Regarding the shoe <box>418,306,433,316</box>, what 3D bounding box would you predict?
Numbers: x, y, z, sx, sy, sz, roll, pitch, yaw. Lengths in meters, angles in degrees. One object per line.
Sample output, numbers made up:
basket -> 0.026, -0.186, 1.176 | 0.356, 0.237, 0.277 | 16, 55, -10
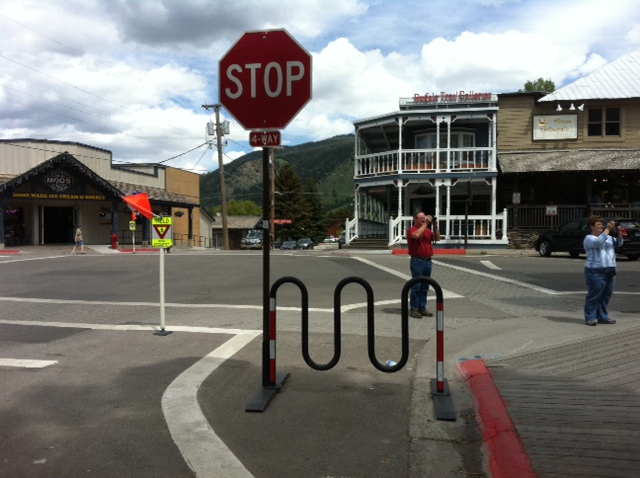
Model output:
shoe -> 1.970, 1.360, 12.167 | 0.340, 0.144, 0.123 | -1, 2, 14

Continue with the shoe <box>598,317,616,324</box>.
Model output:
shoe -> 4.955, 1.402, 11.051 | 0.295, 0.124, 0.100 | -2, 1, 7

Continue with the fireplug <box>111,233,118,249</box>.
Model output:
fireplug -> -11.138, 0.112, 34.595 | 0.224, 0.727, 0.603 | -6, 11, -25

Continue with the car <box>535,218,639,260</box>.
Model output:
car -> 8.089, 0.044, 19.369 | 1.446, 1.214, 3.431 | 0, 4, -17

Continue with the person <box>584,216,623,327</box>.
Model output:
person -> 4.986, 0.537, 11.317 | 0.595, 1.897, 1.592 | 3, 11, 25

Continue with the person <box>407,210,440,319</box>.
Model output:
person -> 1.970, 0.495, 12.281 | 0.601, 1.982, 1.396 | 0, 10, 9

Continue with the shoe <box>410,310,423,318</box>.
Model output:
shoe -> 1.818, 1.397, 12.010 | 0.223, 0.092, 0.269 | 5, 12, 32
